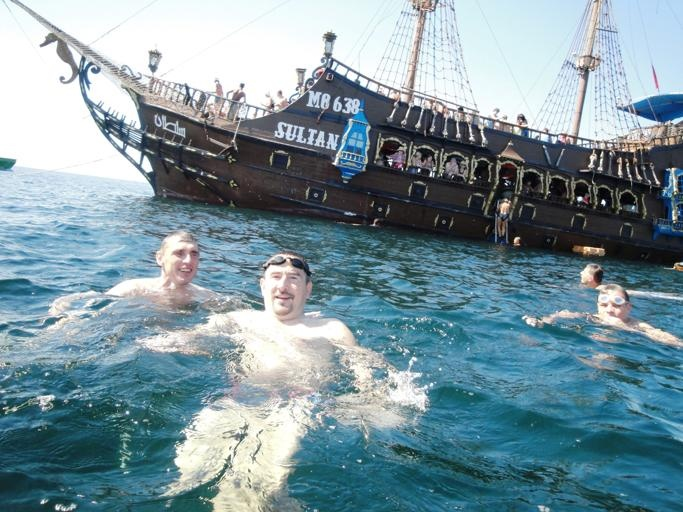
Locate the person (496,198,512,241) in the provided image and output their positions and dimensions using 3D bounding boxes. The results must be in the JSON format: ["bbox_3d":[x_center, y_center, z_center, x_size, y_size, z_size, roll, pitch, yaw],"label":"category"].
[{"bbox_3d":[7.133,-1.615,24.189,0.810,1.908,0.840,1,34,6],"label":"person"}]

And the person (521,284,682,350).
[{"bbox_3d":[4.482,0.901,9.112,2.305,0.959,1.110,5,-1,8],"label":"person"}]
